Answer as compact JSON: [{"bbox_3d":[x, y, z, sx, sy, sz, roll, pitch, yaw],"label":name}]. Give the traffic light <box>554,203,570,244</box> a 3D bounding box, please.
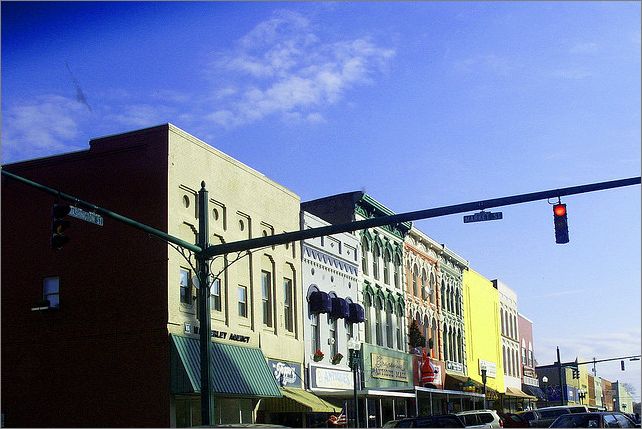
[{"bbox_3d":[8.369,0.259,26.751,0.474,1.448,0.215,-8,-20,11],"label":"traffic light"}]
